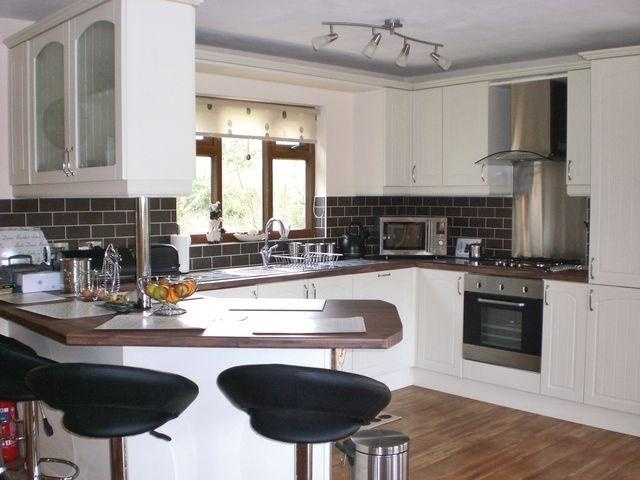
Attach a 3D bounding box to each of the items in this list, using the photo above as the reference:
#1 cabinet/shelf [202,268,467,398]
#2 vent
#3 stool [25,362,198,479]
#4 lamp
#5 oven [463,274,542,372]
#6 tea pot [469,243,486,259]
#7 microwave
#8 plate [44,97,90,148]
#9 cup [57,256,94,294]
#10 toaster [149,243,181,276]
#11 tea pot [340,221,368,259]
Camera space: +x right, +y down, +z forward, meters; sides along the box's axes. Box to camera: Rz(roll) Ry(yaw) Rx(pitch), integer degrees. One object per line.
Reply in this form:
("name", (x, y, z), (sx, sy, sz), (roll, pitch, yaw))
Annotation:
("cabinet/shelf", (0.410, 0.721, 4.932), (1.343, 1.013, 1.357), (-5, -3, 42))
("vent", (1.975, -1.081, 4.947), (0.533, 0.637, 0.699), (-4, 13, -15))
("stool", (-0.795, 0.583, 2.139), (0.501, 0.514, 0.370), (5, 13, 14))
("lamp", (0.507, -1.473, 3.923), (1.054, 0.342, 0.171), (4, 1, -19))
("oven", (1.715, 0.684, 4.809), (0.683, 0.787, 0.552), (3, 6, 32))
("tea pot", (1.583, 0.106, 5.398), (0.170, 0.185, 0.134), (-2, 5, -23))
("microwave", (0.936, -0.042, 5.367), (0.641, 0.397, 0.397), (1, -3, -15))
("plate", (-1.578, -0.720, 3.294), (0.279, 0.274, 0.040), (0, -1, 44))
("cup", (-1.561, 0.201, 3.464), (0.234, 0.238, 0.230), (0, 8, 0))
("toaster", (-1.243, 0.151, 4.219), (0.263, 0.258, 0.327), (-4, -1, -21))
("tea pot", (0.342, -0.010, 5.503), (0.284, 0.354, 0.412), (1, 5, 4))
